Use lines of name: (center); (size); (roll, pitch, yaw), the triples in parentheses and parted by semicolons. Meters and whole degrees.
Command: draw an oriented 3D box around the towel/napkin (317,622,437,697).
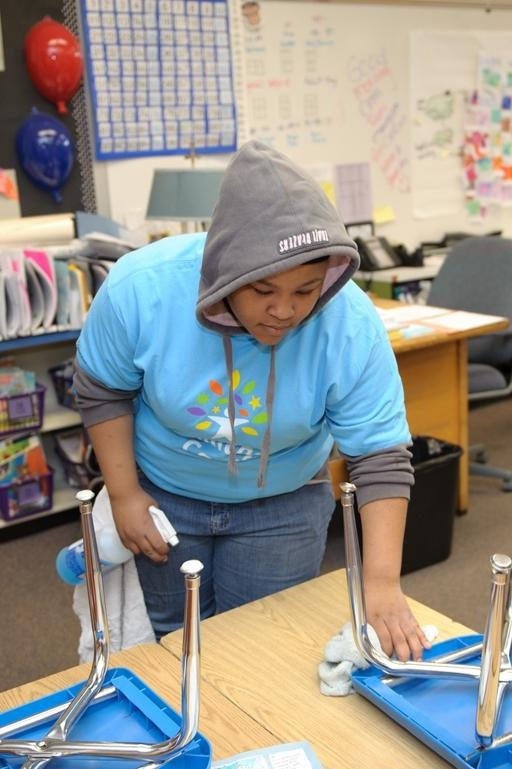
towel/napkin: (0.133, 0.342, 0.776); (0.111, 0.038, 0.095); (-12, 17, -35)

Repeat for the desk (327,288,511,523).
desk: (0.746, 0.051, 2.864); (0.866, 0.843, 0.866); (-11, 15, -43)

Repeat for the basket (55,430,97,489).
basket: (-0.867, 0.360, 2.953); (0.248, 0.107, 0.317); (-10, 27, -28)
